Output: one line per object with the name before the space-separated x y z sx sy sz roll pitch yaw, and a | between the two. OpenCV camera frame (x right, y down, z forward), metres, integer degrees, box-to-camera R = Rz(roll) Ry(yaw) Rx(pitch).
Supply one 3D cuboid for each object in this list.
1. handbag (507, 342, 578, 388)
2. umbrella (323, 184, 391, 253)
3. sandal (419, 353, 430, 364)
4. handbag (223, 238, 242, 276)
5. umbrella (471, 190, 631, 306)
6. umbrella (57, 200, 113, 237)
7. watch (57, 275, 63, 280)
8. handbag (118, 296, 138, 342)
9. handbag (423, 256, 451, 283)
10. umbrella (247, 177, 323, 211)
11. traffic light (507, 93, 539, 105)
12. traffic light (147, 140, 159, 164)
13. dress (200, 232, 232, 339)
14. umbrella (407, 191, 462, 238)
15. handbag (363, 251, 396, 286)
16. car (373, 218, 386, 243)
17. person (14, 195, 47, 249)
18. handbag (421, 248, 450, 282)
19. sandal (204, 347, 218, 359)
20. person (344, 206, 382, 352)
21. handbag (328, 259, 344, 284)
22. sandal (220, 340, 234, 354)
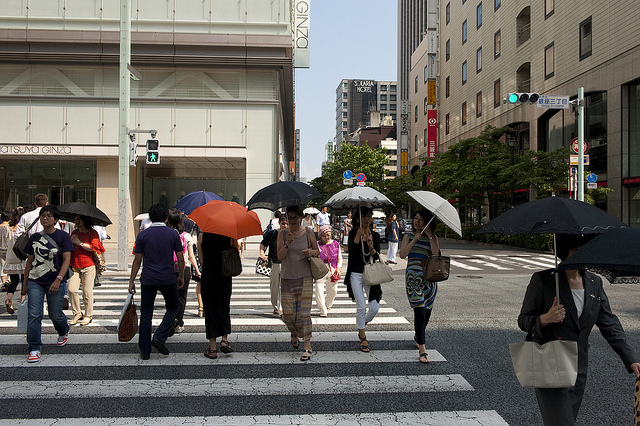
handbag | 4.683 3.123 14.855 1.037 0.686 0.159 -5 5 9
umbrella | 1.181 0.050 20.573 1.876 2.043 1.764 -1 -7 -9
sandal | 2.600 3.629 17.926 0.228 0.191 0.633 0 1 -3
handbag | -2.259 1.124 18.285 0.440 0.915 0.301 -1 3 -6
umbrella | 4.854 0.703 16.144 2.483 1.898 2.543 -2 1 -2
umbrella | -6.798 0.024 20.379 1.143 0.865 1.154 4 -1 -20
watch | -6.589 1.629 18.174 0.082 0.063 0.089 -10 -23 36
handbag | -5.080 2.819 18.876 0.410 1.204 1.163 7 -4 -9
handbag | 2.895 1.378 17.987 0.667 0.812 0.261 1 2 2
umbrella | -0.934 -0.449 18.625 1.724 0.769 0.911 -1 4 -6
traffic light | 8.460 -4.823 29.851 1.241 0.419 0.656 1 4 13
traffic light | -6.691 -2.452 28.608 0.476 0.888 0.209 -1 1 -9
dress | -2.644 1.813 18.271 0.787 2.657 0.395 -1 3 -9
umbrella | 3.019 -0.069 18.427 1.107 1.003 1.151 42 -9 12
handbag | 1.477 1.435 18.594 0.730 0.871 0.409 0 3 6
car | 3.977 1.166 47.178 1.205 1.127 2.220 1 11 5
person | -8.710 0.264 21.471 0.712 2.266 1.009 -3 21 -41
handbag | 2.890 1.327 18.019 0.691 0.780 0.390 0 4 7
sandal | -2.785 3.504 18.182 0.341 0.267 0.231 0 4 -3
person | 1.113 1.678 18.796 0.937 3.650 0.963 0 3 6
handbag | 0.407 1.819 21.733 0.489 0.801 0.210 -7 -5 -23
sandal | -2.397 3.421 18.331 0.201 0.204 0.433 -6 -26 12
